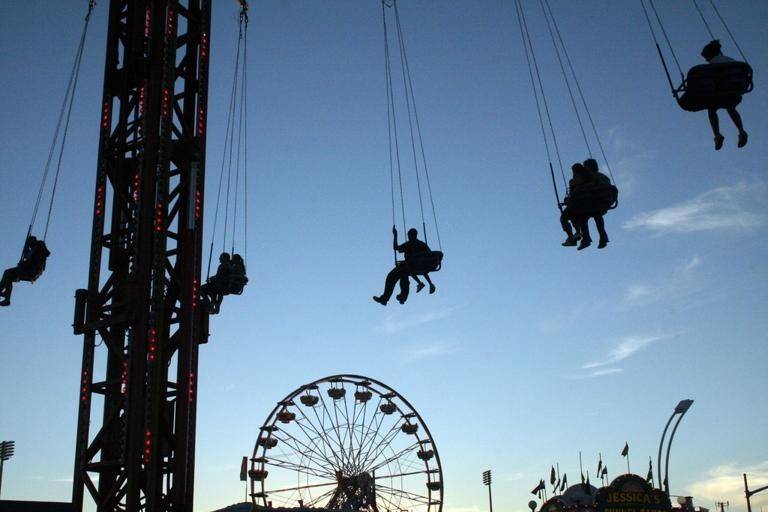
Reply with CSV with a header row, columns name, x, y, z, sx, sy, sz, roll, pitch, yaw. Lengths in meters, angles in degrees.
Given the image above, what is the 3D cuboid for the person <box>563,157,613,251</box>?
name,x,y,z,sx,sy,sz,roll,pitch,yaw
person,5.247,-1.378,17.042,1.056,2.235,1.391,3,-13,-9

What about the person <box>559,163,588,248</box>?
name,x,y,z,sx,sy,sz,roll,pitch,yaw
person,4.919,-1.298,17.177,0.629,2.165,1.029,3,-10,1

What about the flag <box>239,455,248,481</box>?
name,x,y,z,sx,sy,sz,roll,pitch,yaw
flag,-6.031,9.189,29.015,0.212,1.049,1.490,2,-26,-14
